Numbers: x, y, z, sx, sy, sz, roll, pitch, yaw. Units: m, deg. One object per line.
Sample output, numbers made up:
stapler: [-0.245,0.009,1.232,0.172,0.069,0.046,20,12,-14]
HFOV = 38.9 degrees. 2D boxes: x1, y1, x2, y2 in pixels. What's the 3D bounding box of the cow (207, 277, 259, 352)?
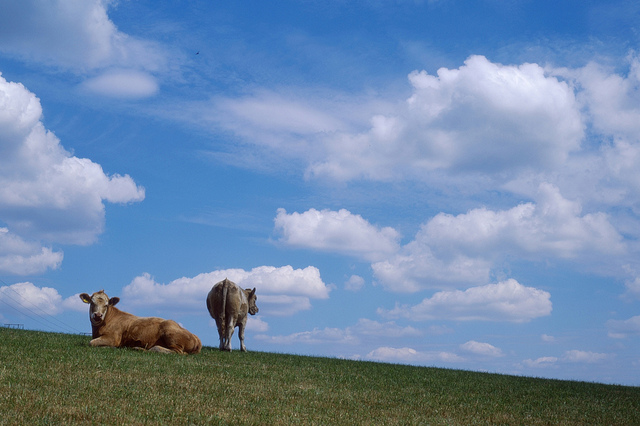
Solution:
cow: [-5.021,5.522,49.379,2.129,3.326,5.538,3,1,-6]
